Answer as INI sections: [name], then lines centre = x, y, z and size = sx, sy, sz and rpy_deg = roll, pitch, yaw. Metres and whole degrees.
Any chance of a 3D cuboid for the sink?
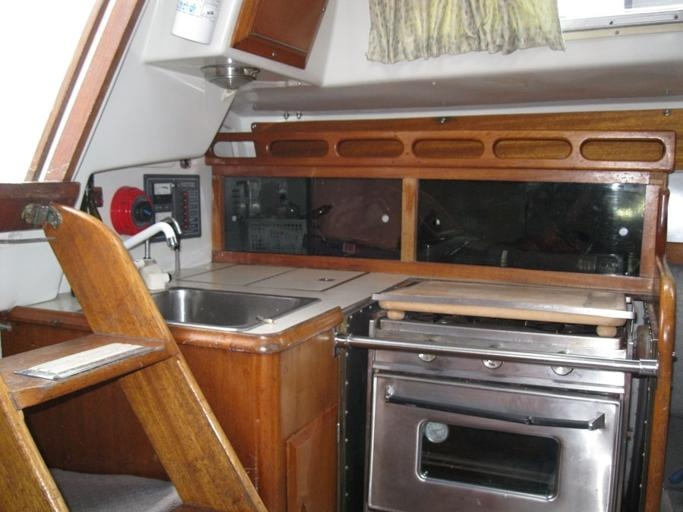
[sink]
centre = -0.503, 0.211, 2.351
size = 0.454, 0.162, 0.258
rpy_deg = 5, 10, 17
